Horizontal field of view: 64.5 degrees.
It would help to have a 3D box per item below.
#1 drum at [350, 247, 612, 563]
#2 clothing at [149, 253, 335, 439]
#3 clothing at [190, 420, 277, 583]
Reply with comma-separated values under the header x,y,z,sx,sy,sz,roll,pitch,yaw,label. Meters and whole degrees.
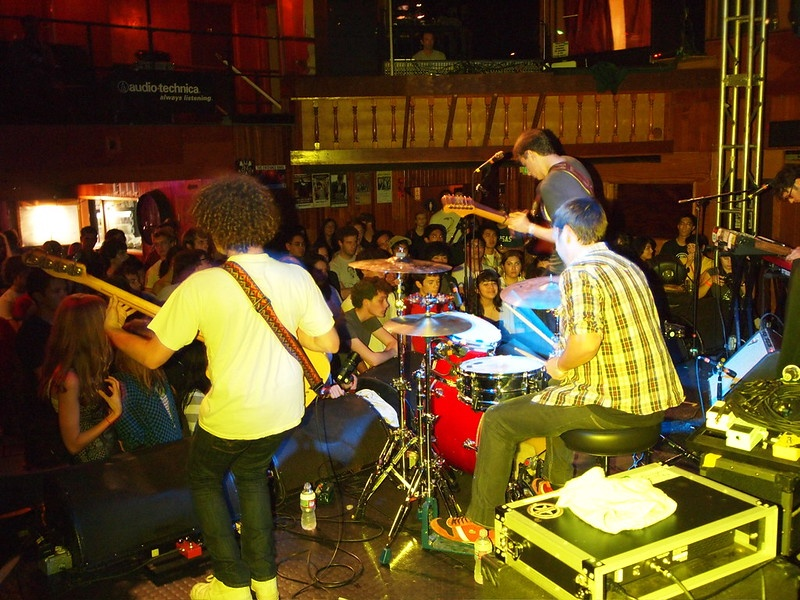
x,y,z,sx,sy,sz,roll,pitch,yaw,label
0.191,0.420,5.263,2.155,2.219,1.547,-9,14,-37,drum
-0.843,0.208,3.503,0.979,0.973,0.637,-7,18,-28,clothing
-0.850,1.102,3.417,0.491,0.908,0.226,-8,10,-21,clothing
